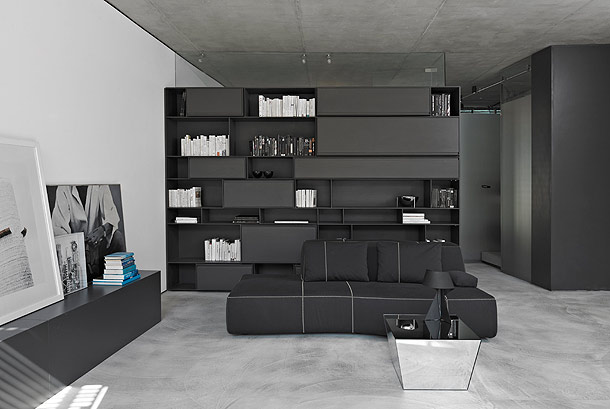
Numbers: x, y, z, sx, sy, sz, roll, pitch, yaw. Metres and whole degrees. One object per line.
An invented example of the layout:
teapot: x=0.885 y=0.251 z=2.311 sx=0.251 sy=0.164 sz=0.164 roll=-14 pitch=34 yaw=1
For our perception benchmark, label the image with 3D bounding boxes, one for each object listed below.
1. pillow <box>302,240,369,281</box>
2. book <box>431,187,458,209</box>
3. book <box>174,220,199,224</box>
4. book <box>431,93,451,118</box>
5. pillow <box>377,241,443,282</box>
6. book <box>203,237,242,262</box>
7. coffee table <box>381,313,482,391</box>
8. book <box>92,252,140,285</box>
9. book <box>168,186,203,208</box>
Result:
pillow: x=0.414 y=0.751 z=5.966 sx=0.845 sy=0.519 sz=0.390 roll=2 pitch=-6 yaw=-3
book: x=2.295 y=-0.087 z=7.330 sx=0.421 sy=0.302 sz=0.181 roll=0 pitch=-2 yaw=-2
book: x=-1.971 y=0.286 z=7.363 sx=0.364 sy=0.078 sz=0.129 roll=-3 pitch=1 yaw=-15
book: x=2.217 y=-1.602 z=7.254 sx=0.377 sy=0.338 sz=0.111 roll=1 pitch=-1 yaw=-2
pillow: x=1.413 y=0.787 z=6.115 sx=0.977 sy=0.475 sz=0.235 roll=2 pitch=-15 yaw=4
book: x=-1.375 y=0.656 z=7.479 sx=0.739 sy=0.412 sz=0.369 roll=1 pitch=-4 yaw=-8
coffee table: x=1.364 y=1.607 z=4.842 sx=0.915 sy=0.639 sz=0.543 roll=-2 pitch=2 yaw=3
book: x=-2.327 y=0.802 z=5.532 sx=0.410 sy=0.299 sz=0.511 roll=0 pitch=0 yaw=1
book: x=-2.005 y=-0.097 z=7.348 sx=0.637 sy=0.349 sz=0.331 roll=0 pitch=-2 yaw=-7
